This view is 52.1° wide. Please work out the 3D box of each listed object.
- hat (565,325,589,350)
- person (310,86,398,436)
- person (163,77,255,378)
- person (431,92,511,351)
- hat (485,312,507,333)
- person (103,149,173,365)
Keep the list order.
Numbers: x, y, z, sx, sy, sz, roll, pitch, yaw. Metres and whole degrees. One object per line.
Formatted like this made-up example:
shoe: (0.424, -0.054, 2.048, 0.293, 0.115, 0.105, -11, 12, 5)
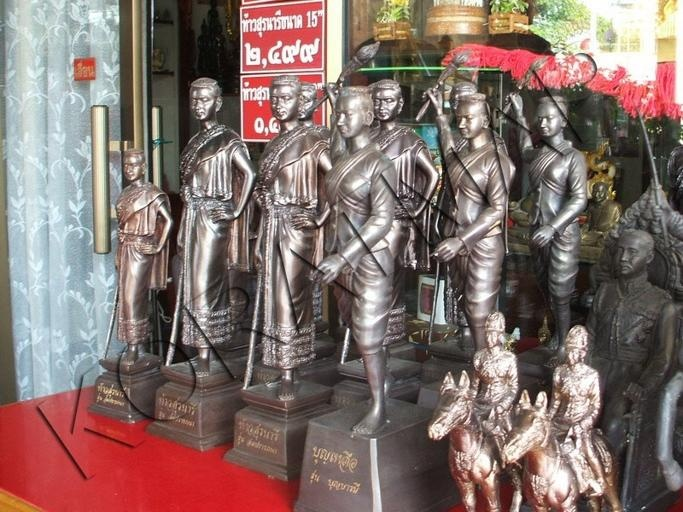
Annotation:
hat: (0.779, 0.266, 2.310, 0.075, 0.083, 0.072, 2, 10, 3)
person: (0.054, 0.040, 2.529, 0.264, 1.278, 0.486, 2, 10, 4)
person: (-0.650, -0.136, 3.438, 0.366, 1.440, 0.392, -5, 12, -32)
person: (0.441, -0.043, 2.423, 0.257, 1.003, 0.934, 3, 11, 12)
hat: (0.547, 0.226, 2.472, 0.058, 0.086, 0.141, 5, 11, 18)
person: (-1.053, 0.003, 3.727, 0.303, 1.133, 0.214, 1, 10, -1)
